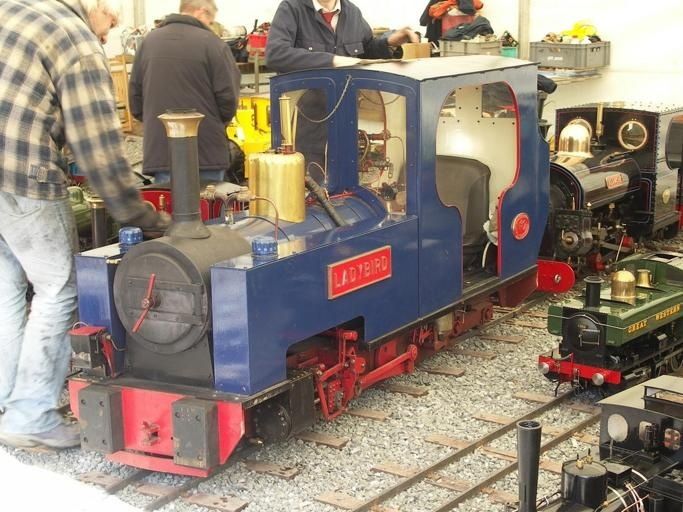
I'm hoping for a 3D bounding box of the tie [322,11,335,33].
[{"bbox_3d":[-0.135,-2.329,6.571,0.125,0.163,0.049,-10,13,-24],"label":"tie"}]

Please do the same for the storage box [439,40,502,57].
[{"bbox_3d":[2.207,-3.466,10.999,0.712,0.270,1.183,-7,15,-16],"label":"storage box"}]
